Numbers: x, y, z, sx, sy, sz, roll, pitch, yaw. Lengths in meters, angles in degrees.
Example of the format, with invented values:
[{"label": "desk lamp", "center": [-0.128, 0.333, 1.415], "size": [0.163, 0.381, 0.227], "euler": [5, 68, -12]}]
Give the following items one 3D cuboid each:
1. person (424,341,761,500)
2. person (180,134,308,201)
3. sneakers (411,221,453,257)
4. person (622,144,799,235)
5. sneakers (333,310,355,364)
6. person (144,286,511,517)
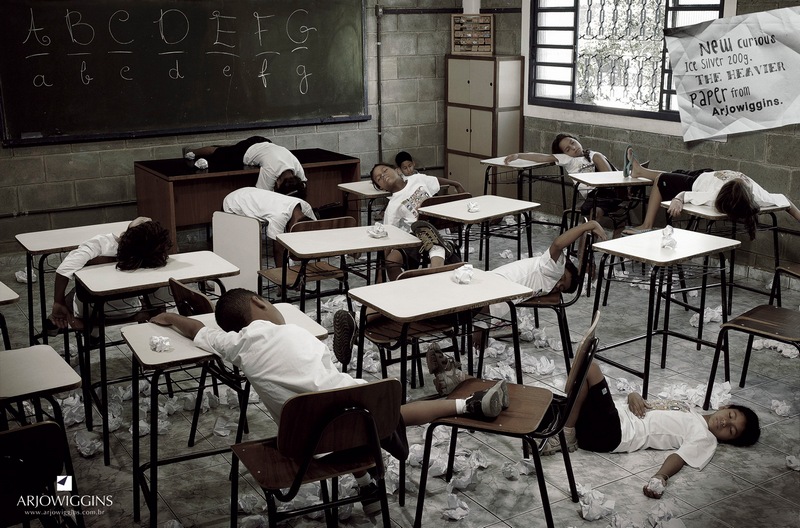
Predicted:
[{"label": "person", "center": [1.297, 0.914, 3.461], "size": [1.713, 0.515, 1.331], "euler": [2, -9, 23]}, {"label": "person", "center": [-1.769, -1.055, 6.096], "size": [0.945, 0.587, 0.478], "euler": [-5, 27, -21]}, {"label": "sneakers", "center": [0.273, -0.195, 4.483], "size": [0.156, 0.192, 0.466], "euler": [-11, -35, 37]}, {"label": "person", "center": [2.831, -0.649, 5.265], "size": [0.887, 0.412, 1.346], "euler": [-18, 13, -5]}, {"label": "sneakers", "center": [-0.264, 0.365, 2.861], "size": [0.126, 0.310, 0.105], "euler": [-4, 9, -42]}, {"label": "person", "center": [-0.430, 0.695, 2.610], "size": [1.703, 1.105, 0.749], "euler": [5, 18, 17]}]
